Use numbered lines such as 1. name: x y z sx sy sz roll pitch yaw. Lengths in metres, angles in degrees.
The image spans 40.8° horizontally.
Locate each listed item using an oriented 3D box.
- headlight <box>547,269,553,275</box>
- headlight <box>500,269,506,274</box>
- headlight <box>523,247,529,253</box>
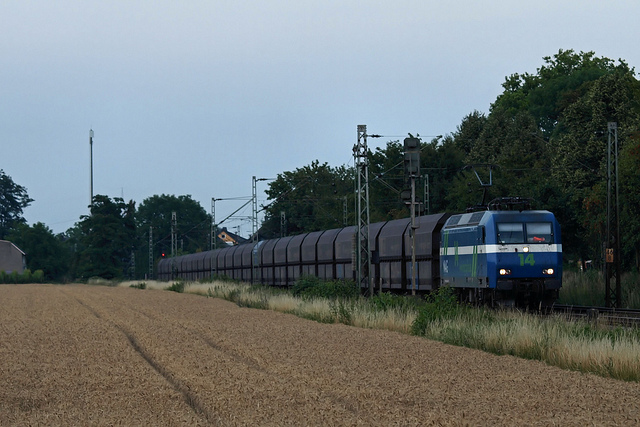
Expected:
1. headlight: 10.184 2.567 37.974 0.227 0.223 0.056 1 -2 4
2. headlight: 8.031 2.549 37.656 0.170 0.180 0.040 -7 -4 4
3. headlight: 9.135 1.585 37.961 0.176 0.139 0.181 -3 -5 32
